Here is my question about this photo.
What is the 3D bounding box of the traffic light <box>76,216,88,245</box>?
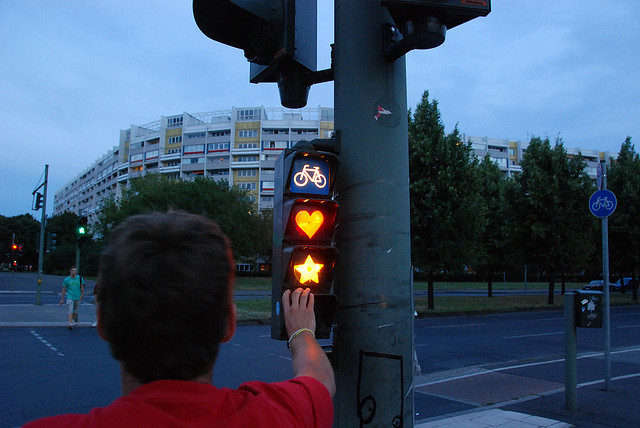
[{"bbox_3d":[-10.568,0.658,24.367,0.394,1.282,1.216,1,-4,-23],"label":"traffic light"}]

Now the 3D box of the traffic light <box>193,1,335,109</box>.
[{"bbox_3d":[-0.673,-2.213,7.454,1.715,1.420,0.541,-1,-4,-2],"label":"traffic light"}]

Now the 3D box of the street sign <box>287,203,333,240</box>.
[{"bbox_3d":[-0.145,0.081,6.774,0.373,0.359,0.127,5,-8,-17],"label":"street sign"}]

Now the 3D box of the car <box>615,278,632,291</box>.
[{"bbox_3d":[29.397,6.566,52.962,2.181,1.149,1.258,10,-14,-37],"label":"car"}]

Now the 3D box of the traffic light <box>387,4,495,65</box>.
[{"bbox_3d":[1.434,-2.335,6.852,1.143,0.595,0.345,-1,-4,6],"label":"traffic light"}]

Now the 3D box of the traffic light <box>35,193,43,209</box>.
[{"bbox_3d":[-14.687,-0.763,28.746,0.272,0.847,1.875,1,-4,-27],"label":"traffic light"}]
